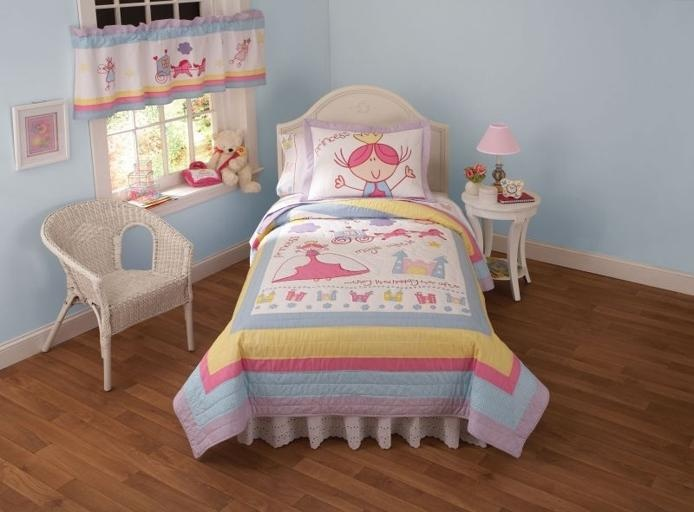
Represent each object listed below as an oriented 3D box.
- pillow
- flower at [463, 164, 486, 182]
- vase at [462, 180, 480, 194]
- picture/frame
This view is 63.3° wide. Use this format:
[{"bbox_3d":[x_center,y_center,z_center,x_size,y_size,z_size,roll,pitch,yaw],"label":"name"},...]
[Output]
[{"bbox_3d":[0.132,-0.693,4.156,1.106,0.506,0.127,0,-8,1],"label":"pillow"},{"bbox_3d":[0.986,-0.646,4.390,0.225,0.117,0.186,5,31,9],"label":"flower"},{"bbox_3d":[0.963,-0.536,4.361,0.119,0.071,0.114,-11,18,-38],"label":"vase"},{"bbox_3d":[-1.893,-0.751,3.438,0.040,0.433,0.549,17,23,37],"label":"picture/frame"}]
